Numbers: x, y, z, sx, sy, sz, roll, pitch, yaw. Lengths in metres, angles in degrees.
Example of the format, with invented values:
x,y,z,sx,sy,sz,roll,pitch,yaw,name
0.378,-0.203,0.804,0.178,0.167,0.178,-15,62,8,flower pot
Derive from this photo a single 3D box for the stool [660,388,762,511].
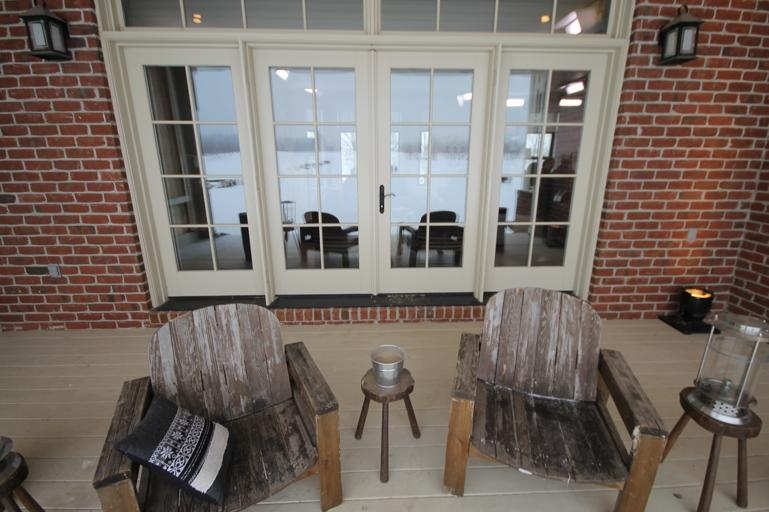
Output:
x,y,z,sx,sy,sz,roll,pitch,yaw,name
2.193,1.291,3.318,0.531,0.769,0.453,6,15,27,stool

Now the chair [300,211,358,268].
x,y,z,sx,sy,sz,roll,pitch,yaw,name
-0.561,-0.178,4.864,0.474,0.529,0.492,5,18,15,chair

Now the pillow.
x,y,z,sx,sy,sz,roll,pitch,yaw,name
-1.273,1.201,3.069,0.612,0.566,0.323,0,14,4,pillow

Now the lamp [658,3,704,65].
x,y,z,sx,sy,sz,roll,pitch,yaw,name
2.525,-1.880,4.244,0.298,0.389,0.161,2,14,11,lamp

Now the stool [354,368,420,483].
x,y,z,sx,sy,sz,roll,pitch,yaw,name
0.004,1.136,3.545,0.480,0.758,0.548,3,14,14,stool

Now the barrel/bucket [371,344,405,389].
x,y,z,sx,sy,sz,roll,pitch,yaw,name
0.017,0.738,3.367,0.265,0.195,0.260,-1,19,0,barrel/bucket

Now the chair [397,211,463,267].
x,y,z,sx,sy,sz,roll,pitch,yaw,name
0.432,-0.211,4.890,0.517,0.510,0.533,-1,21,-2,chair
